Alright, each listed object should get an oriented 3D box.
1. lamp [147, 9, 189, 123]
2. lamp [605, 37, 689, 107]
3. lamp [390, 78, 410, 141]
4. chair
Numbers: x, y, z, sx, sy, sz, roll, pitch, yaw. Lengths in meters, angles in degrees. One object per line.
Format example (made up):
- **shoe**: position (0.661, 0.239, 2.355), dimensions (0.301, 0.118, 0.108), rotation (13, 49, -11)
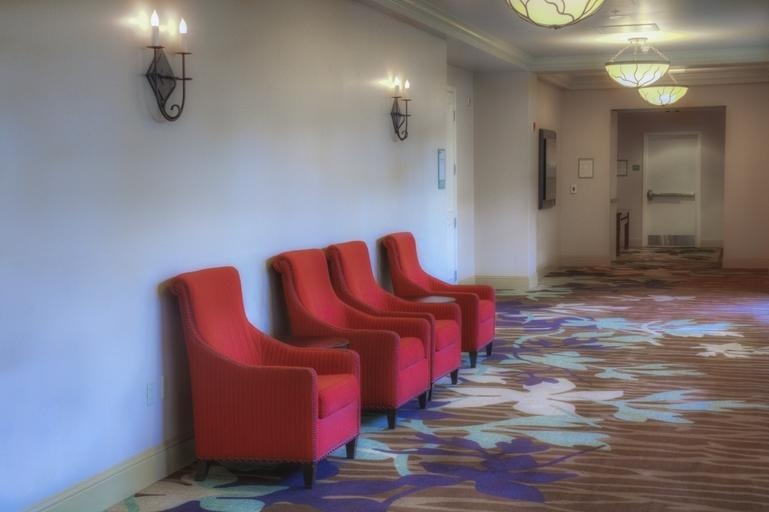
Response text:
- **lamp**: position (-1.537, -1.385, 4.364), dimensions (0.180, 0.790, 0.462), rotation (2, 9, 18)
- **lamp**: position (4.569, -3.411, 10.716), dimensions (0.979, 0.794, 2.153), rotation (5, 10, 26)
- **lamp**: position (0.195, -1.855, 7.522), dimensions (0.123, 0.788, 0.538), rotation (1, 9, 16)
- **chair**: position (-0.599, 0.794, 4.793), dimensions (1.055, 1.502, 1.821), rotation (4, 9, 30)
